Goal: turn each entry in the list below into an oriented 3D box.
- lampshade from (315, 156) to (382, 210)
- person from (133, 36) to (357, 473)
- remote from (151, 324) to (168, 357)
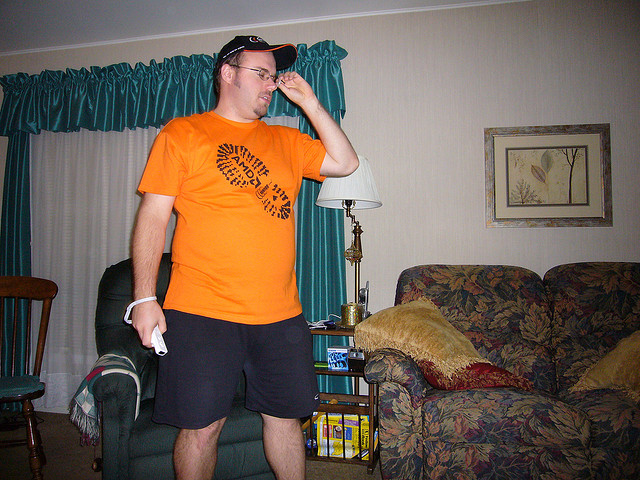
[{"bbox_3d":[0.192,-0.383,3.881,0.374,0.431,0.377,2,6,-31],"label":"lampshade"},{"bbox_3d":[-0.412,0.086,2.738,1.025,1.917,0.272,-1,0,-23],"label":"person"},{"bbox_3d":[-0.761,0.478,2.523,0.061,0.129,0.029,-16,-18,-17],"label":"remote"}]
